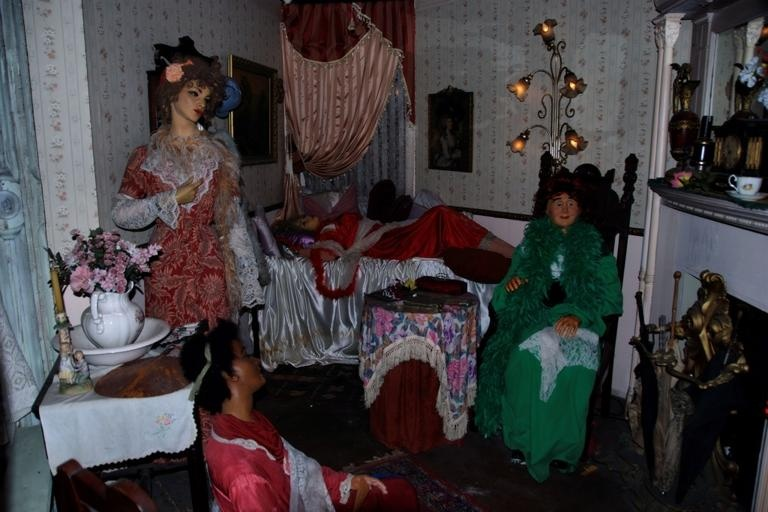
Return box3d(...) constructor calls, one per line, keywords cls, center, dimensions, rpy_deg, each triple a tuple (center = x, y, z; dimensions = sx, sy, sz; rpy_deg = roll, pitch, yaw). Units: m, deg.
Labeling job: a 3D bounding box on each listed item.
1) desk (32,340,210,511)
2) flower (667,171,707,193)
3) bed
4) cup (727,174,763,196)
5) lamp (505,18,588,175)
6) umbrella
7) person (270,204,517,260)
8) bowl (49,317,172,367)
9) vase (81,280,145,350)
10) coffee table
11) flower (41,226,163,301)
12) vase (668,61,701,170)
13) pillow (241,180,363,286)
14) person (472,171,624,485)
box3d(cls="desk", center=(-1.266, 0.806, 2.785), dimensions=(0.532, 0.543, 0.558), rpy_deg=(-7, 22, -12))
box3d(cls="flower", center=(2.050, -0.508, 3.670), dimensions=(0.066, 0.162, 0.154), rpy_deg=(-27, 9, -34))
box3d(cls="bed", center=(0.287, 0.507, 4.511), dimensions=(2.779, 0.933, 1.719), rpy_deg=(5, 19, 11))
box3d(cls="cup", center=(2.150, -0.450, 3.267), dimensions=(0.140, 0.129, 0.185), rpy_deg=(-6, 10, -29))
box3d(cls="lamp", center=(1.553, -1.579, 5.351), dimensions=(0.643, 1.507, 0.880), rpy_deg=(-5, 9, -43))
box3d(cls="umbrella", center=(1.998, 0.873, 3.664), dimensions=(0.702, 1.549, 0.466), rpy_deg=(7, 9, 39))
box3d(cls="person", center=(0.108, -0.190, 5.316), dimensions=(2.194, 0.607, 0.801), rpy_deg=(2, 21, 16))
box3d(cls="bowl", center=(-1.384, 0.475, 2.894), dimensions=(0.403, 0.103, 0.430), rpy_deg=(9, 4, -1))
box3d(cls="vase", center=(-1.413, 0.323, 2.815), dimensions=(0.270, 0.379, 0.309), rpy_deg=(8, 15, 3))
box3d(cls="coffee table", center=(0.111, 0.825, 4.394), dimensions=(0.834, 1.139, 1.079), rpy_deg=(-1, 10, -9))
box3d(cls="flower", center=(-1.452, -0.012, 2.825), dimensions=(0.394, 0.322, 0.446), rpy_deg=(14, 24, 10))
box3d(cls="vase", center=(2.183, -1.037, 3.993), dimensions=(0.210, 0.764, 0.608), rpy_deg=(5, 7, 26))
box3d(cls="pillow", center=(-0.949, -0.344, 5.854), dimensions=(1.135, 1.010, 0.514), rpy_deg=(-16, -8, 20))
box3d(cls="person", center=(1.235, 0.460, 4.095), dimensions=(0.735, 2.165, 0.850), rpy_deg=(-5, 9, -45))
